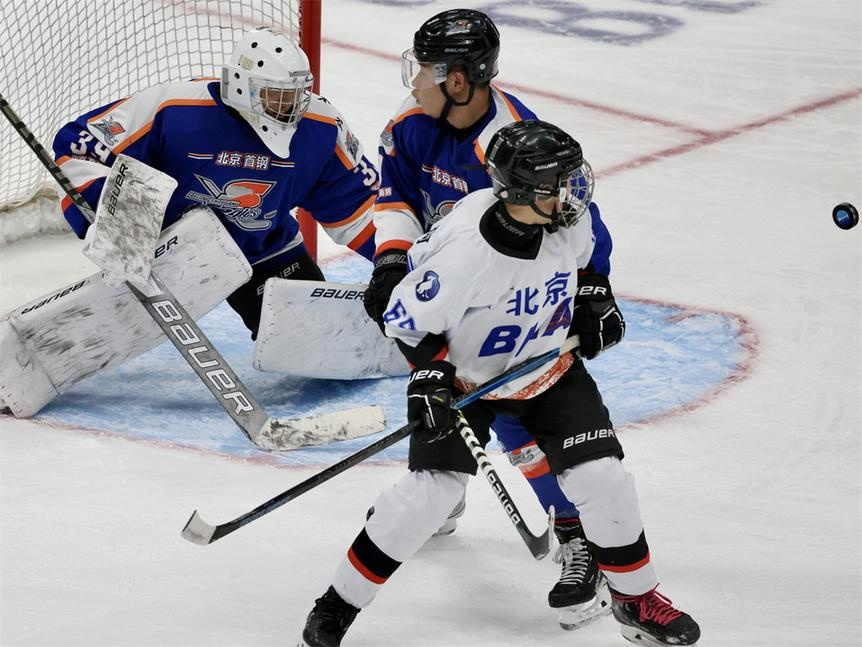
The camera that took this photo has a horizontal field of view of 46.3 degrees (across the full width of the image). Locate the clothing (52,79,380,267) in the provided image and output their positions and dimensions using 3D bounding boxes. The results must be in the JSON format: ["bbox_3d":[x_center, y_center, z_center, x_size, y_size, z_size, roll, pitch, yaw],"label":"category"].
[{"bbox_3d":[-0.821,-0.537,3.841,1.624,0.555,0.354,7,38,-19],"label":"clothing"}]

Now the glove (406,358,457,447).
[{"bbox_3d":[-0.003,0.208,2.666,0.183,0.105,0.192,-12,60,30],"label":"glove"}]

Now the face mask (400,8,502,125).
[{"bbox_3d":[0.096,-0.805,3.110,0.489,0.334,0.279,0,33,4],"label":"face mask"}]

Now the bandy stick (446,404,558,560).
[{"bbox_3d":[0.214,0.481,3.018,0.059,0.762,0.154,-31,38,11],"label":"bandy stick"}]
